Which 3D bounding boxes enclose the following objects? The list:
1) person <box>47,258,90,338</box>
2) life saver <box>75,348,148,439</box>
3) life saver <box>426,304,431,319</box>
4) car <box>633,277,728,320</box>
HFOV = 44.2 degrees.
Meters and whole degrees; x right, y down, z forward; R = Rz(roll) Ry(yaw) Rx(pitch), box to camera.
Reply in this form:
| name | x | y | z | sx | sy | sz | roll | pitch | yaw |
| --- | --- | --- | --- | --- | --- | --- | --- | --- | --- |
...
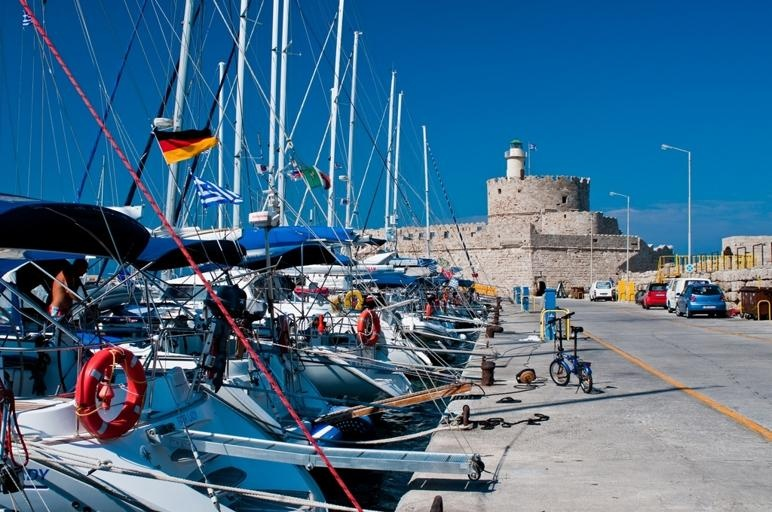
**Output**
| name | x | y | z | sx | sy | sz | roll | pitch | yaw |
| --- | --- | --- | --- | --- | --- | --- | --- | --- | --- |
| person | -5.202 | 0.641 | 15.306 | 0.617 | 1.323 | 0.614 | 2 | -1 | 0 |
| life saver | -3.675 | 1.851 | 12.690 | 0.323 | 1.129 | 1.099 | 5 | 7 | 39 |
| life saver | 1.350 | 1.767 | 30.446 | 0.144 | 0.388 | 0.137 | 12 | -6 | -38 |
| car | 11.962 | 1.692 | 39.087 | 1.365 | 1.148 | 9.171 | -2 | -2 | 5 |
